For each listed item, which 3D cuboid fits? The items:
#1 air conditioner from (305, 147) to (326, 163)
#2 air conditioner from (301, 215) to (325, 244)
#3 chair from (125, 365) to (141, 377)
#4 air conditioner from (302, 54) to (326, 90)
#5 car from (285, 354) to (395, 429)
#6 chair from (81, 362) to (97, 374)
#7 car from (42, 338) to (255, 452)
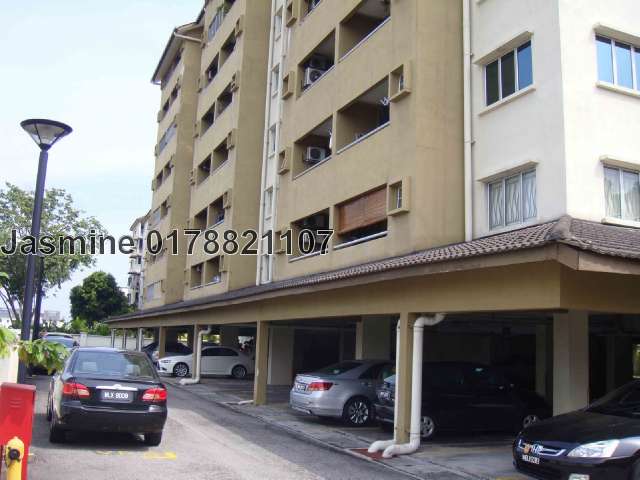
[{"bbox_3d":[-0.145,-3.383,22.941,0.760,0.782,0.843,3,-7,-2],"label":"air conditioner"},{"bbox_3d":[-0.207,-0.415,22.616,1.003,1.322,0.887,3,-7,-12],"label":"air conditioner"},{"bbox_3d":[-3.793,2.682,11.934,0.210,0.203,0.221,9,-27,-28],"label":"chair"},{"bbox_3d":[-0.249,-6.683,23.300,0.930,1.551,0.964,2,-7,8],"label":"air conditioner"},{"bbox_3d":[0.572,4.073,15.791,2.924,1.120,1.362,2,-7,-29],"label":"car"},{"bbox_3d":[-4.544,2.532,11.575,0.283,0.298,0.167,0,-6,5],"label":"chair"},{"bbox_3d":[-4.132,3.153,11.623,2.200,1.853,1.540,4,-7,-8],"label":"car"}]
